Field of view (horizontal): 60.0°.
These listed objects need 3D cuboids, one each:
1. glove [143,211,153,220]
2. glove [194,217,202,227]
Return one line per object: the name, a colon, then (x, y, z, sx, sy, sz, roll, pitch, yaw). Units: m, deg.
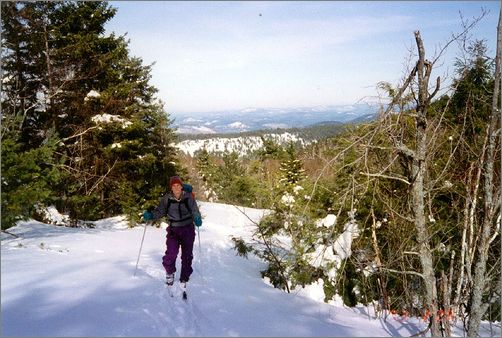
glove: (-3.713, 1.669, 15.633, 0.370, 0.403, 0.223, 6, -4, -5)
glove: (-1.910, 1.884, 15.602, 0.262, 0.304, 0.391, 2, 0, -10)
